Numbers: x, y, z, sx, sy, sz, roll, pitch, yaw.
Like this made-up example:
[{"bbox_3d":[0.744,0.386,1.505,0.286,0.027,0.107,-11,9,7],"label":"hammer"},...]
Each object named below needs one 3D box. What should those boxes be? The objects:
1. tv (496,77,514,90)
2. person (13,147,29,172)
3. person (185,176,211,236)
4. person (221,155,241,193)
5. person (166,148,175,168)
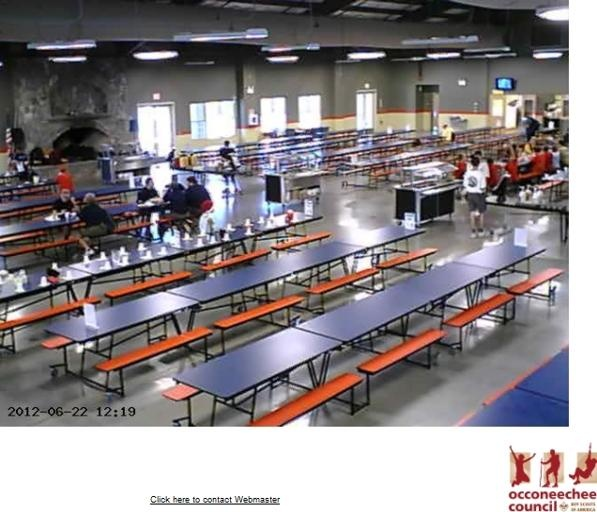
[{"bbox_3d":[8.808,-7.358,21.732,0.488,0.629,0.907,-20,25,-40],"label":"tv"},{"bbox_3d":[-8.294,-2.865,15.270,0.380,0.664,2.162,-11,15,-26],"label":"person"},{"bbox_3d":[-2.102,-1.052,10.585,0.677,1.164,0.623,6,16,30],"label":"person"},{"bbox_3d":[-2.026,-2.455,15.216,0.760,0.673,1.380,1,32,-2],"label":"person"},{"bbox_3d":[-4.345,-3.340,17.432,0.294,0.646,0.897,-8,14,-14],"label":"person"}]
